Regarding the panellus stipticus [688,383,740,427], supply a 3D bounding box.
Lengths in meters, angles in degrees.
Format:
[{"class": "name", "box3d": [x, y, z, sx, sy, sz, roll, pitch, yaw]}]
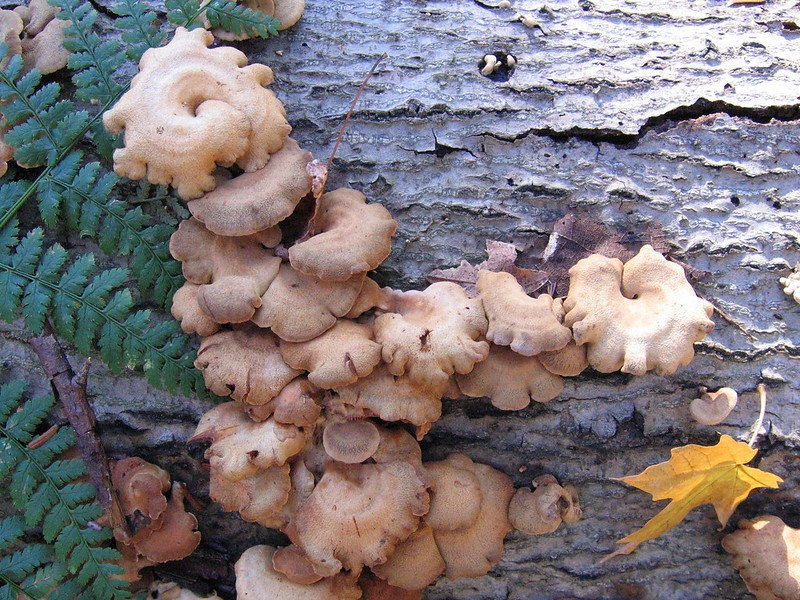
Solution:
[{"class": "panellus stipticus", "box3d": [2.539, 0.874, 8.601, 0.075, 0.335, 0.240, -47, 50, 3]}]
